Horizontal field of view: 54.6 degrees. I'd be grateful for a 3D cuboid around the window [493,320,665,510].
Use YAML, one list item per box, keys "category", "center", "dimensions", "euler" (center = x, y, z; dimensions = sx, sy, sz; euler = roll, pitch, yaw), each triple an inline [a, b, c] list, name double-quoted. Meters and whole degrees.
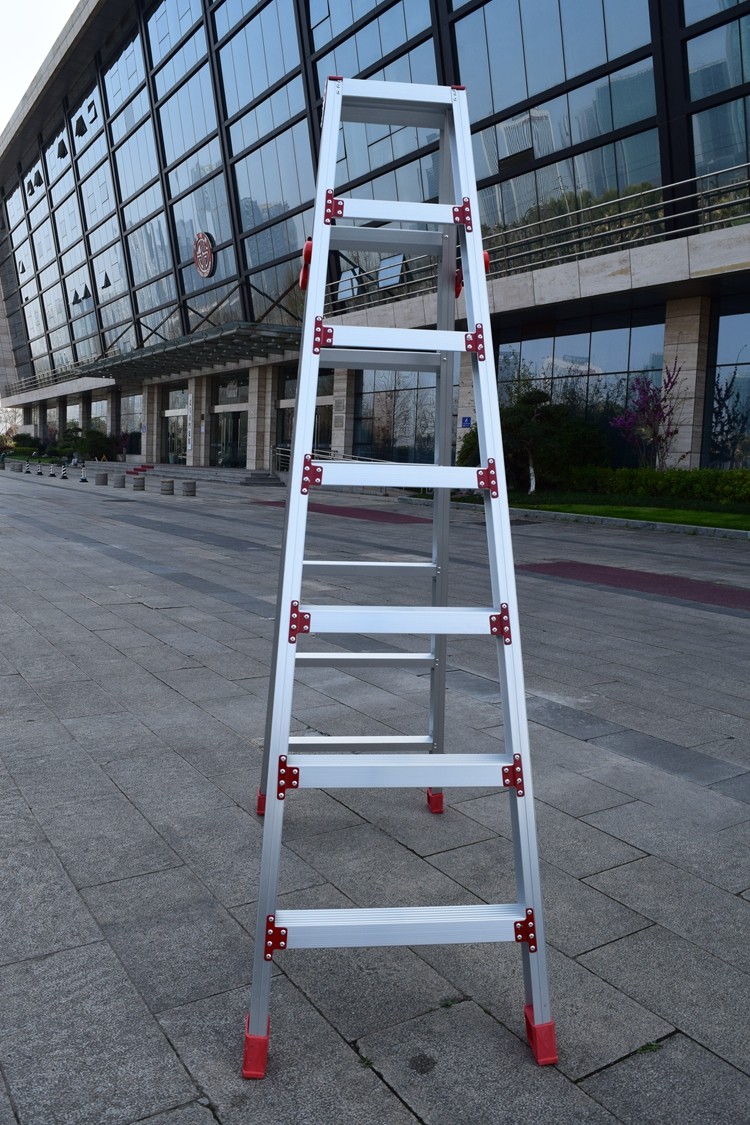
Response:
- category: "window"
  center: [6.908, -5.382, 24.040]
  dimensions: [4.944, 4.974, 1.796]
  euler: [-12, -1, -4]
